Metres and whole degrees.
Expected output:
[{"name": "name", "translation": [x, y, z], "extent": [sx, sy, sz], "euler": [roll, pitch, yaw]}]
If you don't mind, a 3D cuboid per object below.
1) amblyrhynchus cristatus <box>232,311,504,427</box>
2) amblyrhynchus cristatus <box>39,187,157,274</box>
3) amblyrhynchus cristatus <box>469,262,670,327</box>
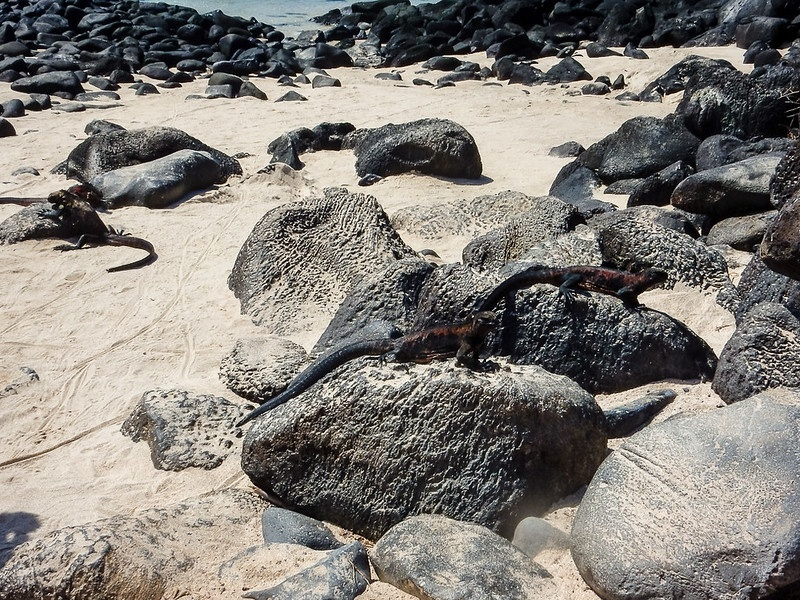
[{"name": "amblyrhynchus cristatus", "translation": [-0.323, 0.596, 8.042], "extent": [2.445, 0.601, 0.792], "euler": [-13, 19, 14]}, {"name": "amblyrhynchus cristatus", "translation": [-4.215, -1.071, 12.424], "extent": [2.082, 0.607, 0.983], "euler": [15, 16, 17]}, {"name": "amblyrhynchus cristatus", "translation": [1.640, -0.045, 8.404], "extent": [1.728, 0.353, 0.630], "euler": [2, -3, 2]}]
